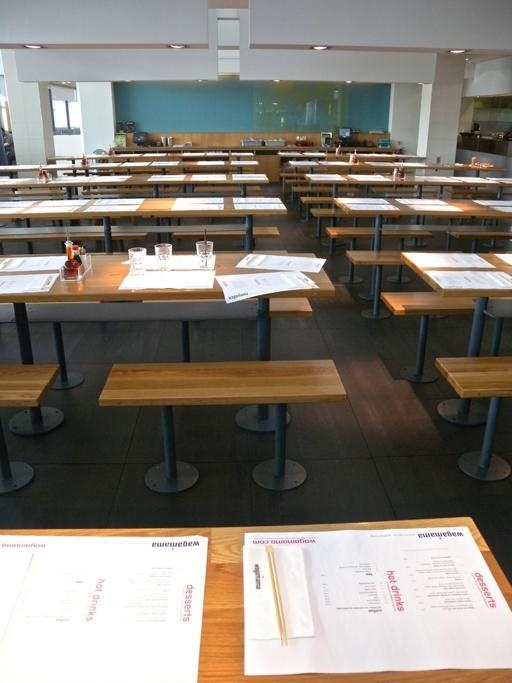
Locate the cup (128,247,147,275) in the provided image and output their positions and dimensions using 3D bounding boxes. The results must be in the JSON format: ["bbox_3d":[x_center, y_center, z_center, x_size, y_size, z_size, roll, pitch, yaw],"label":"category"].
[{"bbox_3d":[-0.577,-0.391,2.540,0.080,0.106,0.170,-7,24,-14],"label":"cup"}]

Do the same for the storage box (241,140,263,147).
[{"bbox_3d":[-0.086,-4.927,13.201,0.352,0.096,0.328,3,30,2],"label":"storage box"}]

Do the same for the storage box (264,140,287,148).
[{"bbox_3d":[0.480,-4.936,13.180,0.419,0.111,0.299,0,29,3],"label":"storage box"}]
